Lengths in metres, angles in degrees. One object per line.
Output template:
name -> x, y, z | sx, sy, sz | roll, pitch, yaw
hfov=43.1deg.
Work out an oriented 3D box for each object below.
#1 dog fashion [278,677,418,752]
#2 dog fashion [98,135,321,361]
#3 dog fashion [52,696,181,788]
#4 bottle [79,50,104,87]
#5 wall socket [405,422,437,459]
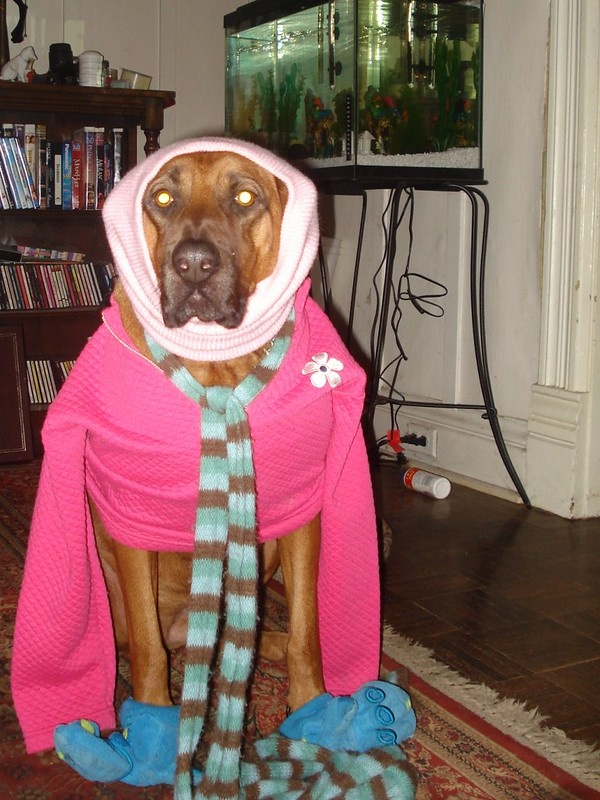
dog fashion -> 0.083, 0.492, 1.221 | 0.196, 0.127, 0.078 | -22, 29, -5
dog fashion -> -0.130, -0.204, 1.211 | 0.338, 0.338, 0.148 | 1, -2, 0
dog fashion -> -0.272, 0.498, 1.151 | 0.086, 0.103, 0.260 | -3, -20, 34
bottle -> -0.866, -1.369, 3.158 | 0.106, 0.181, 0.229 | -1, 9, -15
wall socket -> 0.515, 0.165, 3.194 | 0.021, 0.138, 0.179 | -4, 4, -34
